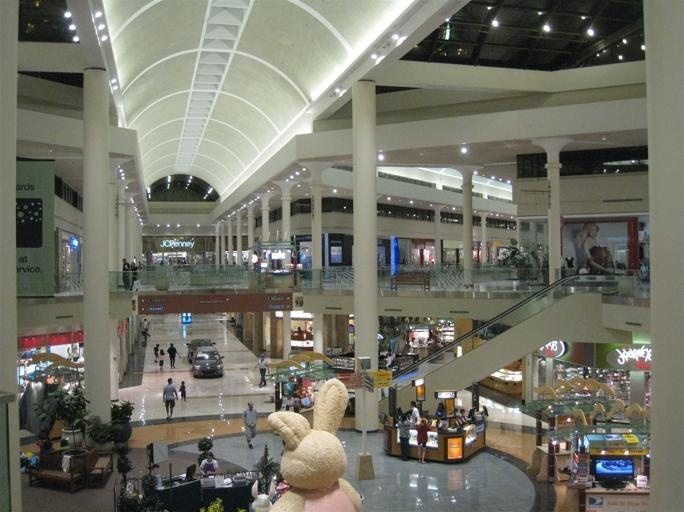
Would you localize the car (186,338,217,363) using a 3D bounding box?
[{"bbox_3d":[-8.009,5.049,33.422,1.275,1.057,2.027,0,-7,-11],"label":"car"}]

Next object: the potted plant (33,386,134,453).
[{"bbox_3d":[-7.797,4.898,18.230,2.421,1.928,2.581,0,-5,-14],"label":"potted plant"}]

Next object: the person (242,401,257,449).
[{"bbox_3d":[-2.961,5.359,19.131,0.341,1.324,0.629,0,-5,-5],"label":"person"}]

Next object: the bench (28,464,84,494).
[{"bbox_3d":[-7.664,5.946,16.123,1.489,0.552,0.498,-3,-6,21],"label":"bench"}]

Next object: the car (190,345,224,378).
[{"bbox_3d":[-6.751,5.345,30.025,1.406,1.292,2.133,1,-6,-16],"label":"car"}]

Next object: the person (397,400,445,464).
[{"bbox_3d":[2.344,5.413,18.223,1.280,1.481,0.989,-4,-6,28],"label":"person"}]

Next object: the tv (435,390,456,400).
[{"bbox_3d":[3.358,4.637,19.992,0.757,0.347,0.549,4,-7,-41],"label":"tv"}]

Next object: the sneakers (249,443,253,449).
[{"bbox_3d":[-2.864,5.970,18.876,0.078,0.161,0.107,0,-1,24],"label":"sneakers"}]
